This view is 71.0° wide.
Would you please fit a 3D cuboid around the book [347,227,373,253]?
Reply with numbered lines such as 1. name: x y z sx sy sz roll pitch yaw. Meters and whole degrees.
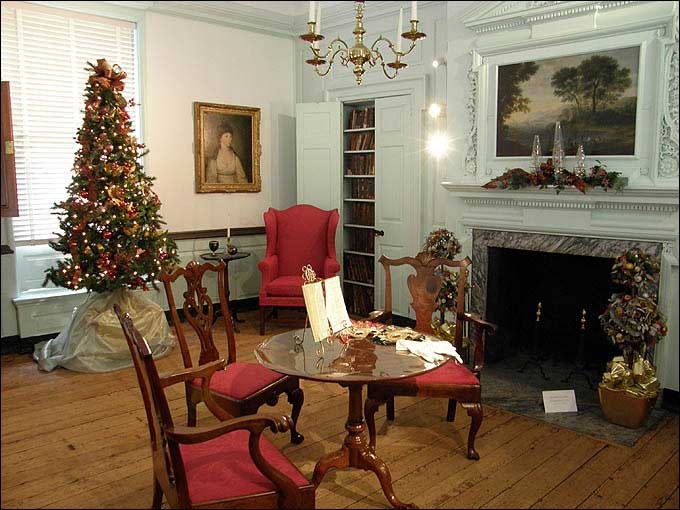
1. book: 0.273 -0.215 6.271 0.162 0.293 0.304 -7 11 -38

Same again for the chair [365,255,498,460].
1. chair: 0.596 0.698 3.479 1.005 1.337 1.027 -1 3 -14

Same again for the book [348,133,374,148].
1. book: 0.288 -1.495 6.144 0.223 0.205 0.091 8 13 39

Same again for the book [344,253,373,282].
1. book: 0.255 0.145 6.271 0.377 0.341 0.206 0 6 -21

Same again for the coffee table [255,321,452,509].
1. coffee table: 0.064 0.952 2.973 1.007 0.732 0.991 -3 9 -22

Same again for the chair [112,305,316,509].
1. chair: -0.842 0.974 3.041 0.853 1.304 0.922 -7 16 -28

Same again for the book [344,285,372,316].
1. book: 0.227 0.600 6.210 0.389 0.394 0.093 5 6 40

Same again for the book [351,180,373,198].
1. book: 0.306 -0.871 6.257 0.329 0.311 0.230 2 6 6
